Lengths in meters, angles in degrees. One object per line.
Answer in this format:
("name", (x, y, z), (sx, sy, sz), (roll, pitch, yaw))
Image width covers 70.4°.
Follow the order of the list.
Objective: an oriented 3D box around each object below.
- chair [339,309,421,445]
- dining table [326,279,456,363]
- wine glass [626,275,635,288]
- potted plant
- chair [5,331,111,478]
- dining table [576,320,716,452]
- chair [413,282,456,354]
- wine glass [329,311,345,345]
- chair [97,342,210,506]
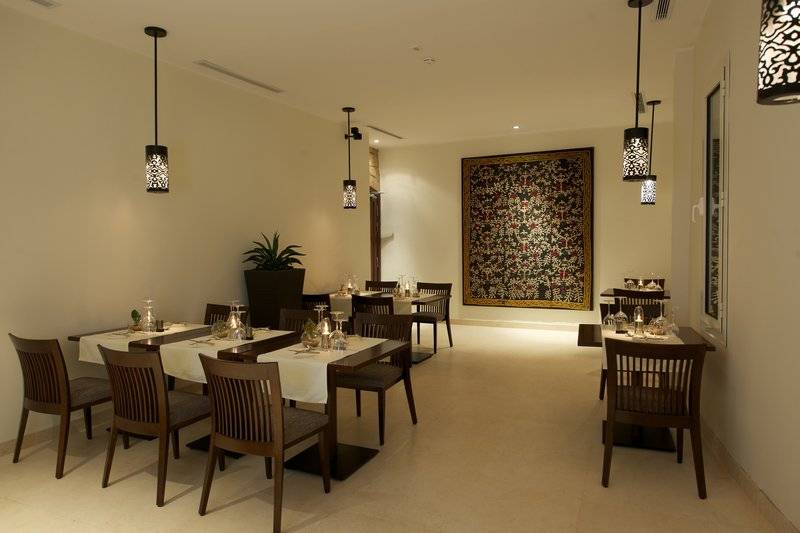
("chair", (-0.272, 1.048, 5.472), (0.651, 1.119, 0.714), (0, 3, 26))
("dining table", (0.201, 0.595, 8.046), (1.153, 0.829, 1.253), (1, 3, 28))
("wine glass", (3.461, 0.216, 8.487), (0.163, 0.194, 0.167), (-2, -3, 2))
("potted plant", (-1.548, 0.243, 7.019), (0.577, 1.021, 0.609), (-3, 11, -31))
("chair", (-2.937, 1.145, 5.073), (0.621, 1.110, 0.794), (3, 4, 28))
("dining table", (2.288, 1.087, 5.602), (1.127, 0.905, 1.089), (0, -3, 17))
("chair", (0.422, 0.701, 8.185), (0.745, 1.023, 0.754), (1, -1, -40))
("wine glass", (-0.536, 0.551, 4.928), (0.134, 0.328, 0.130), (3, -10, -36))
("chair", (-1.985, 1.219, 4.756), (0.656, 1.182, 0.814), (1, 4, 21))
